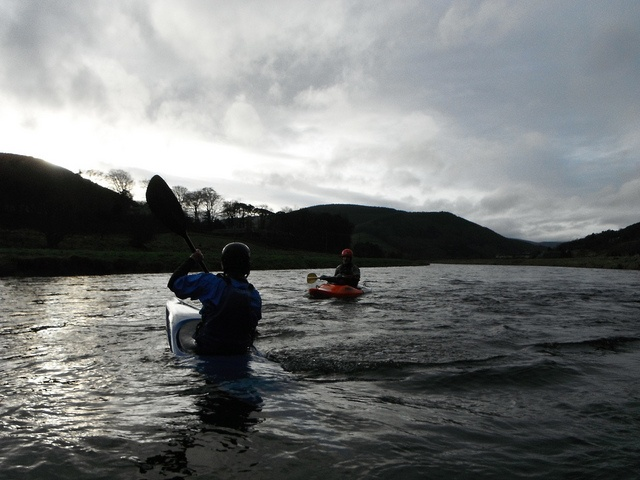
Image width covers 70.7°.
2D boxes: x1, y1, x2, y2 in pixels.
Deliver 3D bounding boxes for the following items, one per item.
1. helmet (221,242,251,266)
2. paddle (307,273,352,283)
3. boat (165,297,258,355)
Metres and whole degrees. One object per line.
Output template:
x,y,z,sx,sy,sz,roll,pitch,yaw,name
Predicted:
-1.348,0.198,7.186,0.341,0.330,0.400,1,-4,2,helmet
0.326,1.530,17.965,1.755,0.515,0.326,0,4,-8,paddle
-2.376,1.534,8.038,0.685,0.592,2.125,11,3,-24,boat
